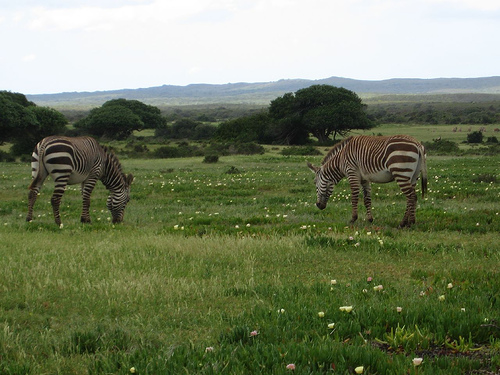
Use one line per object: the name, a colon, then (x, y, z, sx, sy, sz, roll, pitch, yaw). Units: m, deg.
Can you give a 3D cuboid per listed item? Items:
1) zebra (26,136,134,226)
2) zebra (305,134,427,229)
zebra: (-5.422, -0.212, 21.686, 1.082, 2.853, 4.086, 2, -2, 34)
zebra: (3.631, -0.234, 20.917, 4.146, 2.850, 1.164, 2, 6, 41)
